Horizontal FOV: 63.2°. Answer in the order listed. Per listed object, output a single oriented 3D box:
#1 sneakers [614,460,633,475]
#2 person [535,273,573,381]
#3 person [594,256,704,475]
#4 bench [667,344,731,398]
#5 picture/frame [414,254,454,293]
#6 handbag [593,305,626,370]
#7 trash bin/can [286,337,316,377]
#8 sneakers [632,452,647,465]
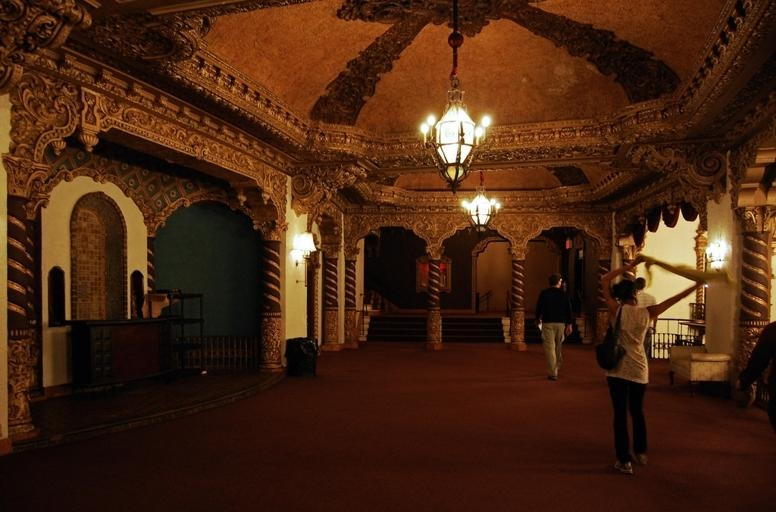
[{"bbox_3d":[3.051,2.709,8.122,0.109,0.121,0.271,0,4,7],"label":"sneakers"},{"bbox_3d":[3.467,1.432,13.195,0.694,2.225,1.051,2,5,16],"label":"person"},{"bbox_3d":[3.291,1.368,8.478,0.884,2.737,1.138,2,5,20],"label":"person"},{"bbox_3d":[5.842,1.884,11.751,0.675,0.798,1.311,-1,0,6],"label":"bench"},{"bbox_3d":[1.580,0.634,22.602,1.510,1.545,0.105,0,-4,-5],"label":"picture/frame"},{"bbox_3d":[2.898,1.074,8.185,0.323,0.834,0.354,2,5,16],"label":"handbag"},{"bbox_3d":[-1.792,2.076,13.180,0.707,0.697,0.697,-1,0,2],"label":"trash bin/can"},{"bbox_3d":[3.350,2.674,8.398,0.167,0.143,0.133,-3,0,19],"label":"sneakers"}]
